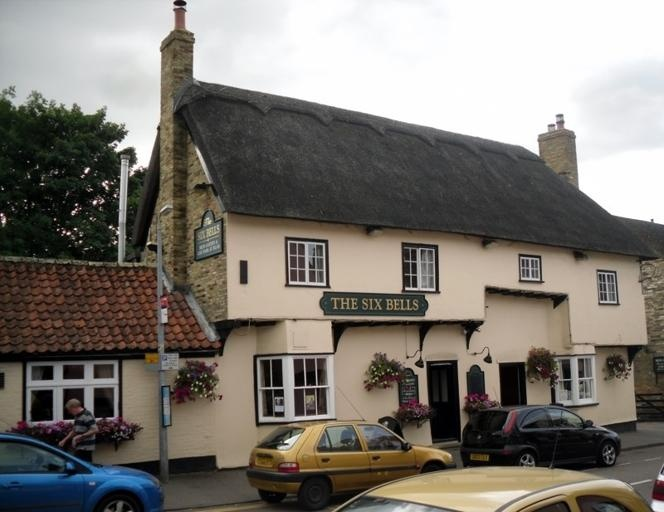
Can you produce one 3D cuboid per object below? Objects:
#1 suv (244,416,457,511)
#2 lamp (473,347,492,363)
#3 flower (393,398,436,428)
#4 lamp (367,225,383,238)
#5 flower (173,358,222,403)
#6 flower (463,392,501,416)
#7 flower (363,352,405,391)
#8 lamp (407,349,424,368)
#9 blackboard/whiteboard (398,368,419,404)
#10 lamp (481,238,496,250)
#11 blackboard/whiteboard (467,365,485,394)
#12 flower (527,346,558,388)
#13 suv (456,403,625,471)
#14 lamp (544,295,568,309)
[{"bbox_3d":[0.277,5.101,21.558,4.163,1.675,2.245,0,-8,-26],"label":"suv"},{"bbox_3d":[5.416,3.524,30.474,0.211,0.601,0.796,-13,-16,43],"label":"lamp"},{"bbox_3d":[2.659,5.191,28.309,0.885,0.657,0.930,2,-12,-4],"label":"flower"},{"bbox_3d":[1.386,-0.762,27.725,0.519,0.271,0.384,-2,-12,-3],"label":"lamp"},{"bbox_3d":[-3.919,3.614,25.081,1.116,0.863,1.135,4,-20,33],"label":"flower"},{"bbox_3d":[5.146,5.088,29.568,1.069,0.725,1.123,1,-4,-4],"label":"flower"},{"bbox_3d":[1.774,3.781,27.769,1.263,1.130,1.084,4,-2,-44],"label":"flower"},{"bbox_3d":[2.822,3.458,28.780,0.665,0.644,0.159,6,-14,-35],"label":"lamp"},{"bbox_3d":[2.558,4.333,28.488,0.718,1.386,0.110,-2,15,3],"label":"blackboard/whiteboard"},{"bbox_3d":[5.592,-0.408,30.396,0.663,0.351,0.232,6,-14,-34],"label":"lamp"},{"bbox_3d":[5.023,4.370,30.046,0.811,1.404,0.138,8,-14,-34],"label":"blackboard/whiteboard"},{"bbox_3d":[7.754,4.055,31.751,1.179,1.280,0.754,6,12,-1],"label":"flower"},{"bbox_3d":[6.007,5.216,24.633,4.266,1.707,2.213,1,-10,-26],"label":"suv"},{"bbox_3d":[8.593,1.726,32.613,0.650,0.286,0.395,-1,16,45],"label":"lamp"}]
